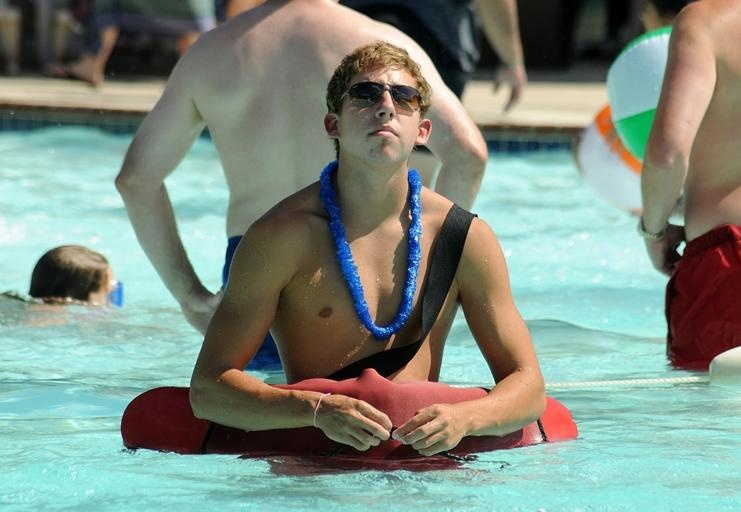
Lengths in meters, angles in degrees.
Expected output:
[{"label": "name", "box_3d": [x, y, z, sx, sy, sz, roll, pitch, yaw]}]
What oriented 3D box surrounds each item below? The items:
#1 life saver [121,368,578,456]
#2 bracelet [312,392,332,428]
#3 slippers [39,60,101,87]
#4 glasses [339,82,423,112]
[{"label": "life saver", "box_3d": [0.096, 0.543, 3.300, 0.803, 0.196, 1.165, 14, 5, 43]}, {"label": "bracelet", "box_3d": [-0.146, 0.467, 2.988, 0.034, 0.088, 0.067, 10, 2, -1]}, {"label": "slippers", "box_3d": [-2.994, -1.840, 9.895, 0.429, 0.266, 1.313, -5, 13, -23]}, {"label": "glasses", "box_3d": [0.030, -0.511, 3.169, 0.244, 0.091, 0.065, 0, 12, -3]}]
